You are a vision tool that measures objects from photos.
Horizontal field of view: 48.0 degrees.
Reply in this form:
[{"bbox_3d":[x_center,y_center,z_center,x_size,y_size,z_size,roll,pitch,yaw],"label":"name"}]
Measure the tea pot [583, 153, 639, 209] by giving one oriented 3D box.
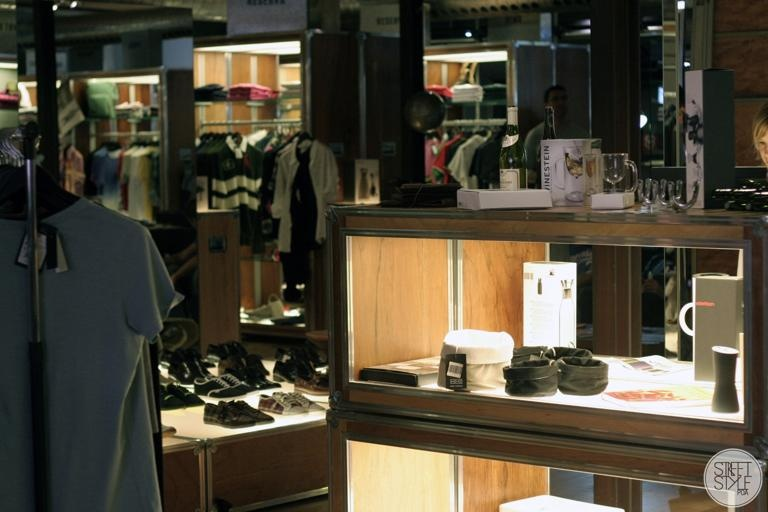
[{"bbox_3d":[0.942,-0.299,3.498,0.185,0.213,0.133,3,8,40],"label":"tea pot"}]
